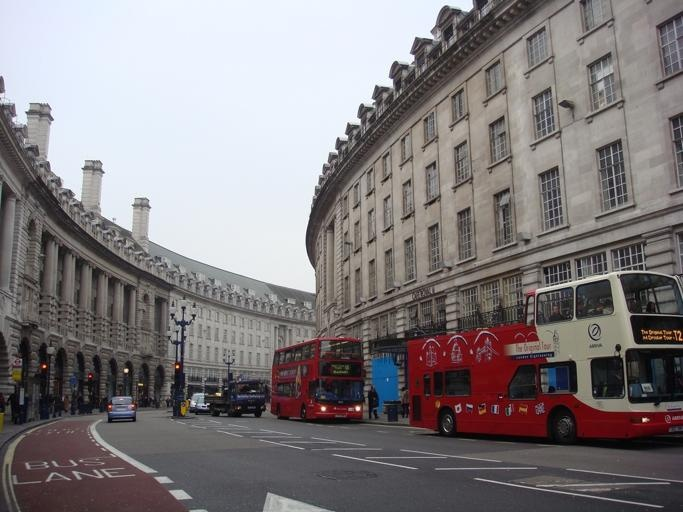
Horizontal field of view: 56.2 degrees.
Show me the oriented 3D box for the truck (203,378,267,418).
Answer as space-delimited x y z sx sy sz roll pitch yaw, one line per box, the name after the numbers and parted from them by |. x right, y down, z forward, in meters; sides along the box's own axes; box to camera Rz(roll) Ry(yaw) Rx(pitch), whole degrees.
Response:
-8.569 11.671 52.622 2.393 2.779 6.582 5 -19 -25 | truck

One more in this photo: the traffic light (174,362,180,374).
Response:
-12.068 8.146 47.204 0.256 1.110 1.304 2 -19 -9 | traffic light

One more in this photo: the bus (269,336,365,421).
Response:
-2.194 8.424 42.353 3.304 5.467 11.553 8 -22 -26 | bus
